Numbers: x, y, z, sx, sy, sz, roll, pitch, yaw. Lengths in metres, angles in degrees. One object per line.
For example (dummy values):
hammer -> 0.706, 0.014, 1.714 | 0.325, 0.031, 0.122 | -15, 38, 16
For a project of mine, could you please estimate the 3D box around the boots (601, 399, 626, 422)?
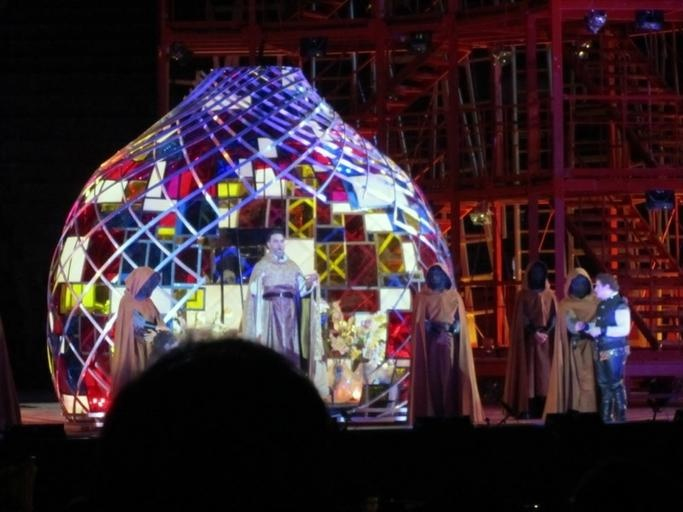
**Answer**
boots -> 3.219, 1.832, 14.910 | 0.411, 0.285, 0.223 | 2, -13, -10
